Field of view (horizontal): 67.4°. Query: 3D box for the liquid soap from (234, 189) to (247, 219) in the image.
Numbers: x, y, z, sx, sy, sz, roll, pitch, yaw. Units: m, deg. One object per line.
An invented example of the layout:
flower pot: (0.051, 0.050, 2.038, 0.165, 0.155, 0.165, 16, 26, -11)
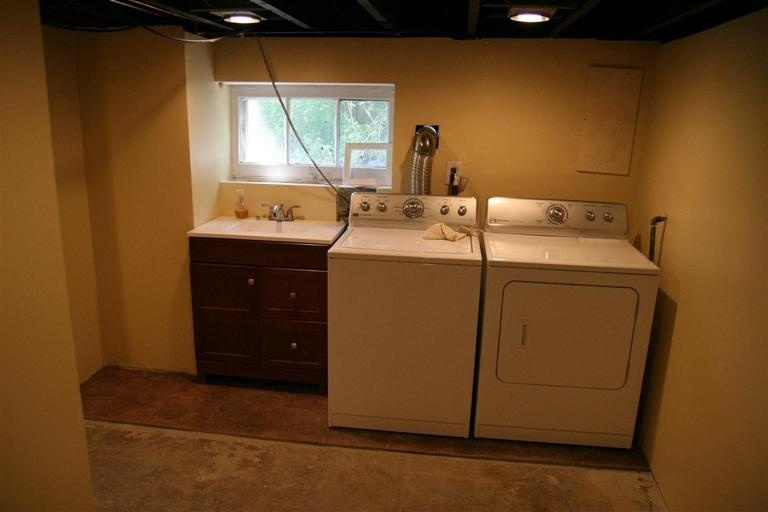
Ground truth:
liquid soap: (-1.047, -0.388, 4.260, 0.088, 0.205, 0.106, -2, 15, -14)

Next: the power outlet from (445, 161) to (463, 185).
power outlet: (0.498, -0.589, 4.060, 0.109, 0.150, 0.083, 3, 14, 6)

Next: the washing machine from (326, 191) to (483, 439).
washing machine: (0.143, 0.352, 3.821, 0.912, 1.439, 0.667, 3, 14, 5)

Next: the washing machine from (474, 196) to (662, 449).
washing machine: (1.115, 0.405, 3.724, 0.976, 1.446, 0.671, 3, 14, 6)

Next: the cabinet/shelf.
cabinet/shelf: (-0.831, 0.363, 3.928, 0.971, 1.028, 0.590, 2, 8, 8)

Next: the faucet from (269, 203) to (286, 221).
faucet: (-0.760, -0.319, 4.213, 0.088, 0.123, 0.136, 1, 2, -5)
